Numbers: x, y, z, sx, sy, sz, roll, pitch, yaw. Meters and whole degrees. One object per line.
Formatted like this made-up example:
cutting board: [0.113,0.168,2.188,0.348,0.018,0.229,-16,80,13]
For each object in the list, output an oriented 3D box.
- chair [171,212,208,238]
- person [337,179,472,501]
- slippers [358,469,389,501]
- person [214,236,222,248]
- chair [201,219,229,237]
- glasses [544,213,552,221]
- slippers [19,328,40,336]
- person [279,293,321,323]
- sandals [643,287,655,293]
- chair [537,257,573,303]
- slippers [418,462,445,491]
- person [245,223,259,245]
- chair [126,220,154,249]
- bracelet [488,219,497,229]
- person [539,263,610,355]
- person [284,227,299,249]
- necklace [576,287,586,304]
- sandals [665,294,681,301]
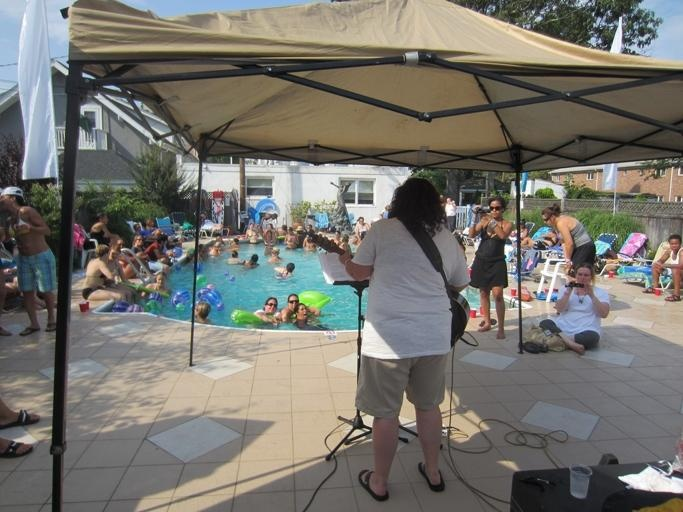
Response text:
chair: [-6.698,-1.351,20.284,0.979,1.032,1.579,-3,5,-41]
person: [0.492,0.628,3.530,0.816,2.345,0.491,-4,14,-16]
slippers: [0.232,1.751,3.641,0.114,0.087,0.263,-4,12,-18]
person: [-4.446,-0.503,17.200,0.371,0.257,0.883,-8,-5,-14]
chair: [-5.515,-1.171,20.949,1.035,0.688,1.016,5,9,30]
glasses: [3.845,-0.696,8.821,0.129,0.066,0.136,-8,48,1]
slippers: [-4.327,1.049,6.590,0.085,0.084,0.232,1,-1,28]
person: [-0.745,1.003,8.662,0.816,0.548,0.475,-2,-4,-26]
sandals: [6.534,0.733,10.067,0.253,0.105,0.086,3,2,22]
chair: [4.148,0.486,9.244,0.688,0.968,0.760,12,3,29]
slippers: [0.707,1.735,3.743,0.096,0.076,0.258,-4,9,-4]
person: [-3.819,-0.925,20.199,0.333,0.833,0.609,-11,-12,40]
chair: [-5.966,-0.603,14.010,0.804,0.488,1.220,-4,18,-39]
bracelet: [2.081,-0.443,6.536,0.073,0.121,0.123,2,-4,-6]
person: [3.134,0.657,6.379,0.855,1.092,0.815,6,2,10]
person: [-2.024,-0.694,19.124,0.633,1.036,0.606,-8,-27,8]
necklace: [3.174,0.553,6.287,0.104,0.144,0.053,10,7,3]
sandals: [6.550,0.823,9.302,0.327,0.128,0.127,2,6,13]
